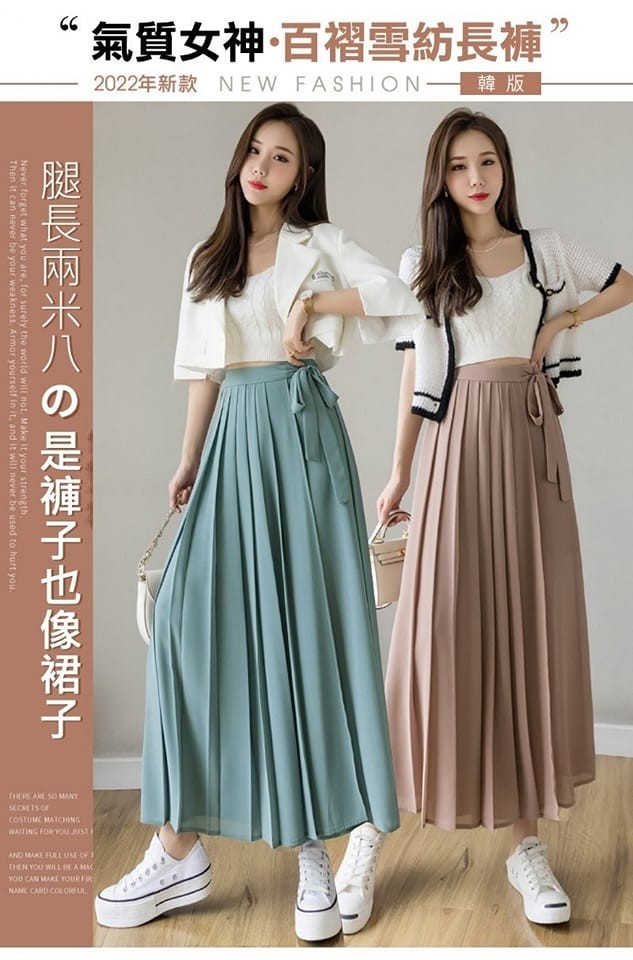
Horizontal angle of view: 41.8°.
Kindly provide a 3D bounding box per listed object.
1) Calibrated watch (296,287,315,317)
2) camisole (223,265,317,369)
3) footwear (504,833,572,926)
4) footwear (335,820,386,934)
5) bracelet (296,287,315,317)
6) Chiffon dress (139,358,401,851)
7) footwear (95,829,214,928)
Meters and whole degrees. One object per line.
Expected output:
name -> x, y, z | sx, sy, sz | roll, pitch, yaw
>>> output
Calibrated watch -> -0.020, -0.341, 1.583 | 0.032, 0.054, 0.044 | -1, 1, -1
camisole -> -0.089, -0.322, 1.628 | 0.171, 0.165, 0.096 | -9, -17, 35
footwear -> 0.450, 0.823, 1.679 | 0.057, 0.075, 0.174 | -3, -1, -2
footwear -> 0.094, 0.820, 1.709 | 0.067, 0.083, 0.203 | 3, 18, 10
bracelet -> -0.019, -0.340, 1.576 | 0.015, 0.049, 0.037 | 31, -30, -34
Chiffon dress -> -0.092, 0.232, 1.622 | 0.470, 0.918, 0.176 | -1, 1, 2
footwear -> -0.335, 0.828, 1.774 | 0.252, 0.161, 0.119 | -6, -2, -19
